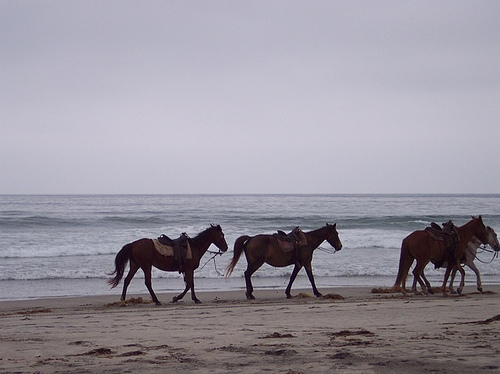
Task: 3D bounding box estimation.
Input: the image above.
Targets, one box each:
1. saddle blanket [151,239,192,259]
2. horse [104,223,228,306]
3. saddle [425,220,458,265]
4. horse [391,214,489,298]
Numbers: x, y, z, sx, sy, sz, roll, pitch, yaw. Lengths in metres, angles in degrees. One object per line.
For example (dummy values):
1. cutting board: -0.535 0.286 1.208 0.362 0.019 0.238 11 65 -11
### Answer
1. saddle blanket: -2.426 1.955 25.886 0.896 0.320 0.659 10 -2 -13
2. horse: -2.537 2.454 26.196 3.943 2.578 0.983 1 -6 -14
3. saddle: 6.121 1.782 26.589 0.832 1.383 0.579 0 3 12
4. horse: 6.041 2.265 26.827 3.442 2.697 0.921 -1 -1 -11
